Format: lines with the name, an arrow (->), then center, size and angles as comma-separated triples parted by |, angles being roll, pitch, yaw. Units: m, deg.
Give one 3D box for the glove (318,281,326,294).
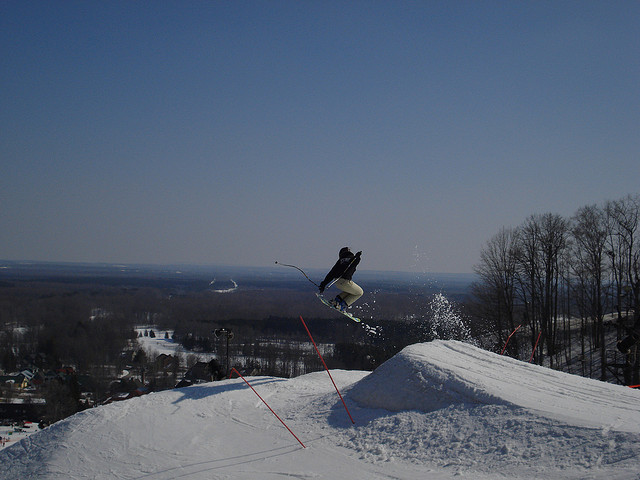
glove -> 0.122, 2.747, 41.348 | 0.375, 0.723, 0.469 | -3, 0, 9
